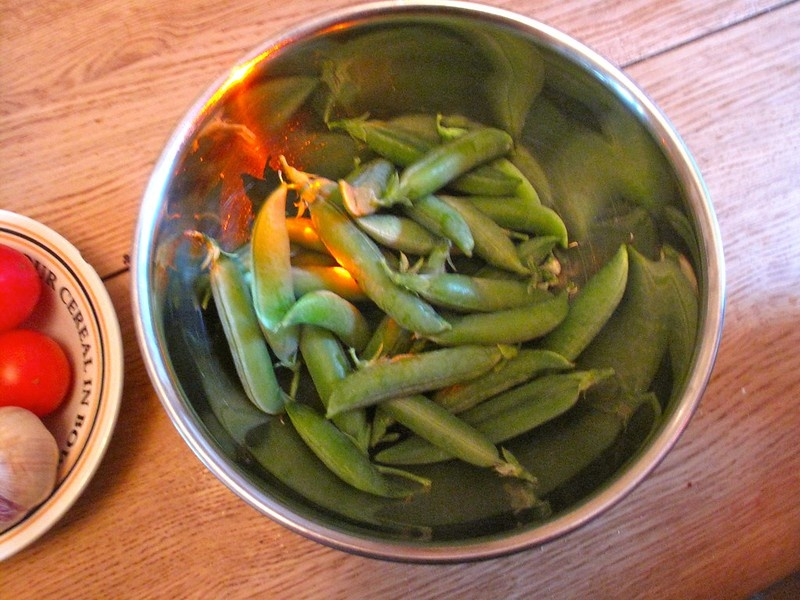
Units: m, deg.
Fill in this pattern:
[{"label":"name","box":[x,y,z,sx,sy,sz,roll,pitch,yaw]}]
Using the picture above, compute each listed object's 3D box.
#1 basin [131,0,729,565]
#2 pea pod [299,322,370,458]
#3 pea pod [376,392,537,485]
[{"label":"basin","box":[0.037,-0.024,1.285,0.859,0.213,0.822,0,83,0]},{"label":"pea pod","box":[-0.108,0.125,1.354,0.074,0.062,0.244,-28,84,19]},{"label":"pea pod","box":[0.091,0.223,1.299,0.201,0.048,0.054,30,100,6]}]
